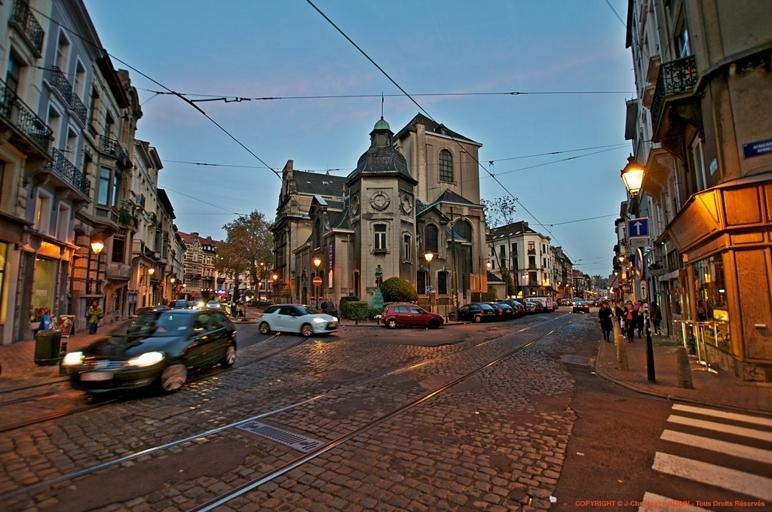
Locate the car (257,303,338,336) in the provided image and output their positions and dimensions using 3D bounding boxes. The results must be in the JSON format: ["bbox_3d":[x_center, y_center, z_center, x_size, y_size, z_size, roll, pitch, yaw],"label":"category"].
[{"bbox_3d":[-4.332,3.031,26.232,3.842,1.571,0.802,-4,-9,22],"label":"car"}]

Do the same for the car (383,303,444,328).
[{"bbox_3d":[1.567,3.474,31.566,2.793,1.198,1.545,-2,-7,8],"label":"car"}]

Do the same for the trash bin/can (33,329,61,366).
[{"bbox_3d":[-11.365,3.051,18.315,0.751,1.135,0.781,-2,-6,23],"label":"trash bin/can"}]

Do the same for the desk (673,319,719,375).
[{"bbox_3d":[10.224,2.989,17.937,0.826,1.520,1.574,-2,-4,8],"label":"desk"}]

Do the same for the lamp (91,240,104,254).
[{"bbox_3d":[-14.128,-0.483,26.635,0.649,0.490,0.656,0,-12,-6],"label":"lamp"}]

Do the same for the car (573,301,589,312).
[{"bbox_3d":[18.732,4.823,52.801,0.854,0.721,2.012,-2,-9,14],"label":"car"}]

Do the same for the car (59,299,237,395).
[{"bbox_3d":[-6.638,2.719,16.158,1.909,2.468,4.358,-5,-10,32],"label":"car"}]
